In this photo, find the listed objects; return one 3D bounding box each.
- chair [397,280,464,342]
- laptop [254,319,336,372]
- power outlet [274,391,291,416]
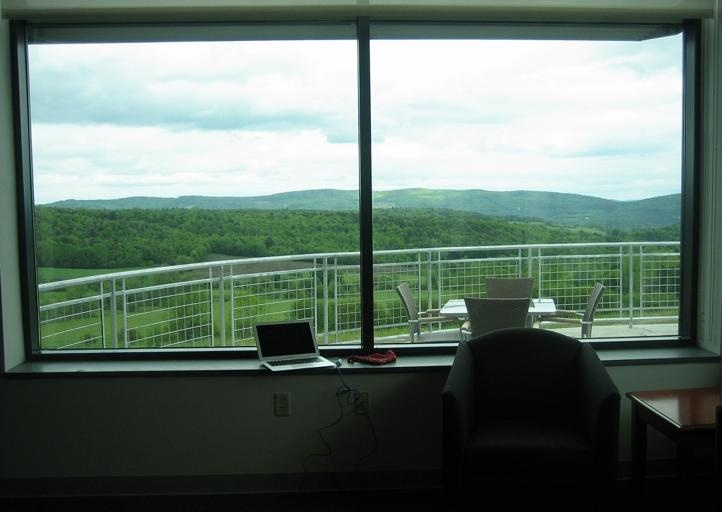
[{"bbox_3d":[0.699,0.488,5.849,0.615,0.725,0.527,-2,9,9],"label":"chair"},{"bbox_3d":[-0.512,0.617,4.460,0.471,0.233,0.391,-2,1,-20],"label":"laptop"},{"bbox_3d":[-0.532,1.016,4.374,0.111,0.161,0.017,-2,5,-3],"label":"power outlet"}]
